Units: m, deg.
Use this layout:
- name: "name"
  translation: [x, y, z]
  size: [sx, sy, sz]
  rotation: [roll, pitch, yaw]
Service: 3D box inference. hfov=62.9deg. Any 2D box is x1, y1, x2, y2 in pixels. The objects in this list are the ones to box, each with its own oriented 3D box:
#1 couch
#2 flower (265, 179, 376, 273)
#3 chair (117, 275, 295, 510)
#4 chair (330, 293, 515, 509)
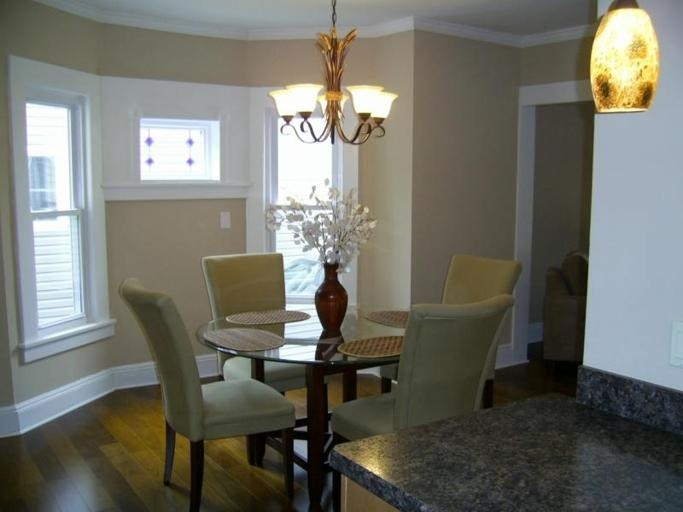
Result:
- name: "couch"
  translation: [2.030, 0.341, 5.058]
  size: [0.395, 0.752, 0.759]
  rotation: [-3, 19, 23]
- name: "flower"
  translation: [-0.130, -0.212, 3.675]
  size: [0.678, 0.636, 0.529]
  rotation: [-8, 17, -26]
- name: "chair"
  translation: [-0.727, 0.584, 3.417]
  size: [1.084, 1.732, 0.856]
  rotation: [-4, 8, -25]
- name: "chair"
  translation: [0.383, 0.705, 2.622]
  size: [0.846, 1.041, 0.487]
  rotation: [0, 6, 1]
